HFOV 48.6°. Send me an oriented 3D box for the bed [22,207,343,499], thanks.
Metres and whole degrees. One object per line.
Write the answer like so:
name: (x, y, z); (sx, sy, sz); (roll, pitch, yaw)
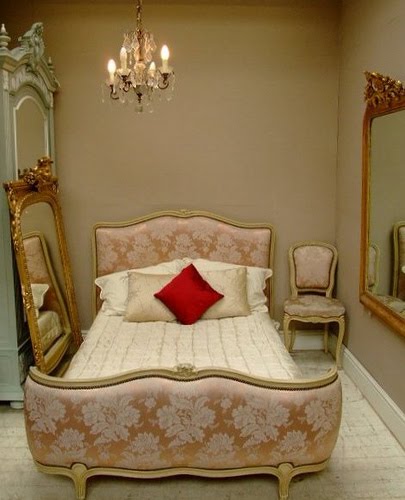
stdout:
bed: (-0.055, 0.623, 2.937); (1.307, 1.279, 1.826); (0, 10, 2)
